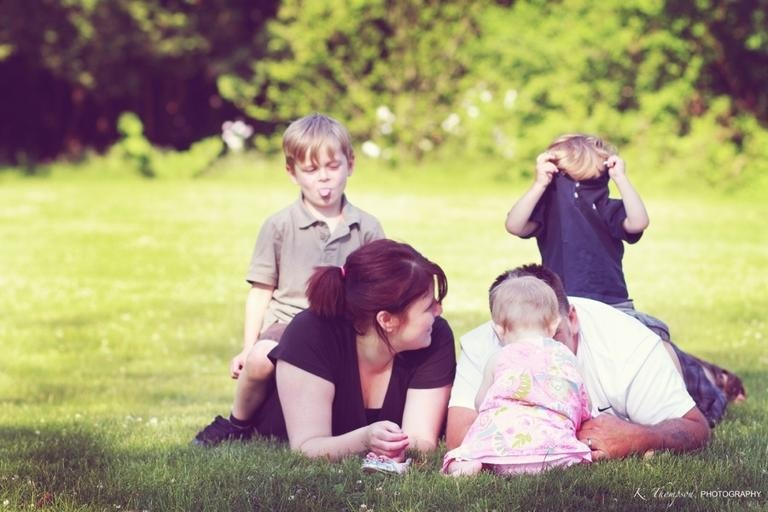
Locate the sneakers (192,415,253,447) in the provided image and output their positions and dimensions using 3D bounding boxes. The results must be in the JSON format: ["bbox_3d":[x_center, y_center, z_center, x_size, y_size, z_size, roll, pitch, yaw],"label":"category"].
[{"bbox_3d":[-1.506,1.625,9.095,0.643,0.291,0.233,-2,1,-4],"label":"sneakers"}]
